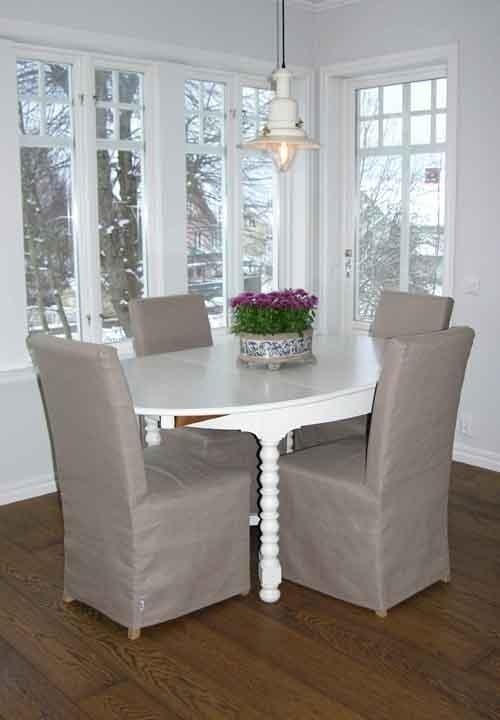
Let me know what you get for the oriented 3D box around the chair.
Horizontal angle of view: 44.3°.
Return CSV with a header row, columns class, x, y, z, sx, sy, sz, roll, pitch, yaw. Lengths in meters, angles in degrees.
class,x,y,z,sx,sy,sz,roll,pitch,yaw
chair,0.069,0.308,2.021,1.456,0.837,1.061,-3,5,-21
